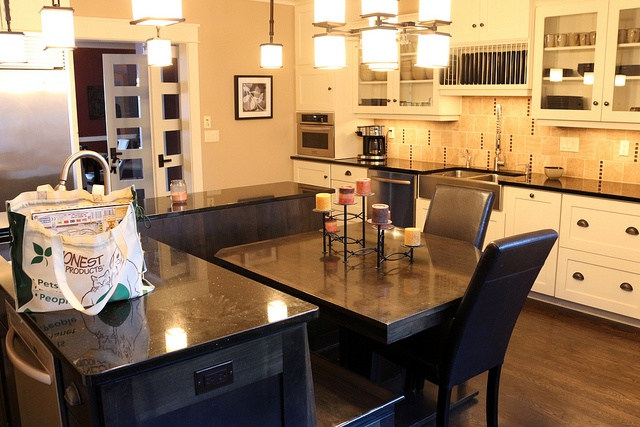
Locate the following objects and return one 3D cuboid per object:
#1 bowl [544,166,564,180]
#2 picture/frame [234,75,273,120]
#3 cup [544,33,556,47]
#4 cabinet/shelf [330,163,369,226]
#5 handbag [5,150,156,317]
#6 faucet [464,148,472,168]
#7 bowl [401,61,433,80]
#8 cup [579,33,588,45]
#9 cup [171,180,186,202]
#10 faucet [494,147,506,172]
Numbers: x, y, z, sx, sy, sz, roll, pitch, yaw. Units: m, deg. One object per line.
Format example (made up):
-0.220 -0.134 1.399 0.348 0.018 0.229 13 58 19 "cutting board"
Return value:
2.326 -0.398 4.648 0.143 0.093 0.143 0 4 0 "bowl"
-0.898 -1.536 6.102 0.531 0.538 0.039 -15 18 -41 "picture/frame"
2.151 -1.621 4.372 0.107 0.123 0.106 1 12 0 "cup"
0.344 -0.305 5.601 0.457 0.447 1.083 0 15 2 "cabinet/shelf"
-0.991 0.069 1.929 0.551 0.590 0.517 10 18 34 "handbag"
1.724 -0.641 5.429 0.086 0.191 0.164 3 15 11 "faucet"
1.105 -1.622 5.383 0.255 0.176 0.298 -6 12 -25 "bowl"
2.370 -1.571 4.202 0.093 0.103 0.088 0 17 0 "cup"
-1.111 -0.177 3.670 0.122 0.153 0.219 -5 15 -16 "cup"
1.986 -0.607 5.168 0.108 0.241 0.195 5 16 19 "faucet"
